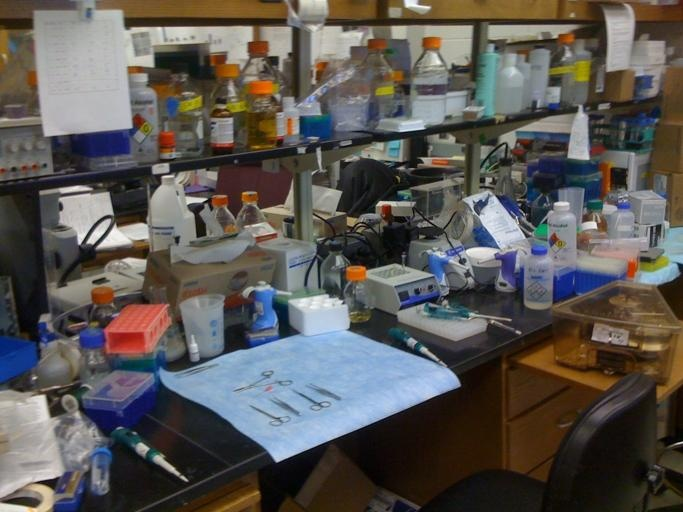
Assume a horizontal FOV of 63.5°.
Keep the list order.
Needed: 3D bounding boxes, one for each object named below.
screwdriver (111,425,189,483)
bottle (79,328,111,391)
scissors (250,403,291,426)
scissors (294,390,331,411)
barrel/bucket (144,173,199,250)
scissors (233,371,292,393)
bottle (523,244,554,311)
[{"bbox_3d":[-0.428,0.436,1.221,0.255,0.046,0.051,10,21,40],"label":"screwdriver"},{"bbox_3d":[-0.645,0.263,1.436,0.062,0.163,0.079,-12,25,-43],"label":"bottle"},{"bbox_3d":[-0.174,0.388,1.345,0.098,0.004,0.045,17,22,42],"label":"scissors"},{"bbox_3d":[-0.072,0.362,1.410,0.053,0.008,0.113,-12,18,-30],"label":"scissors"},{"bbox_3d":[-0.567,-0.153,1.901,0.147,0.251,0.124,19,24,40],"label":"barrel/bucket"},{"bbox_3d":[-0.213,0.323,1.465,0.054,0.003,0.097,16,22,40],"label":"scissors"},{"bbox_3d":[0.689,0.081,1.954,0.098,0.218,0.104,5,15,-1],"label":"bottle"}]
